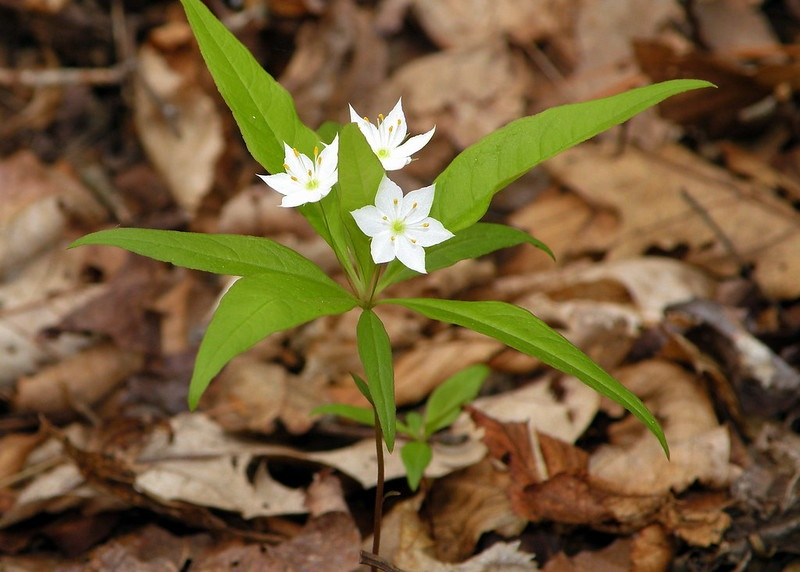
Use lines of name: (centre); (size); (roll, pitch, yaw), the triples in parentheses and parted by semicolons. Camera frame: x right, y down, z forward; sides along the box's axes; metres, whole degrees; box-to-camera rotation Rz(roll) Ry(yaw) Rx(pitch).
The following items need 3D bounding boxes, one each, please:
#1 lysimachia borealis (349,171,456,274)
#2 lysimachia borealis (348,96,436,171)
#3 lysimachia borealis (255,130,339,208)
lysimachia borealis: (0.014, -0.285, 4.615); (0.462, 0.318, 0.499); (-17, 75, -4)
lysimachia borealis: (-0.041, -0.768, 4.765); (0.424, 0.186, 0.443); (12, 44, -9)
lysimachia borealis: (-0.495, -0.557, 4.636); (0.355, 0.335, 0.376); (8, 75, 3)
